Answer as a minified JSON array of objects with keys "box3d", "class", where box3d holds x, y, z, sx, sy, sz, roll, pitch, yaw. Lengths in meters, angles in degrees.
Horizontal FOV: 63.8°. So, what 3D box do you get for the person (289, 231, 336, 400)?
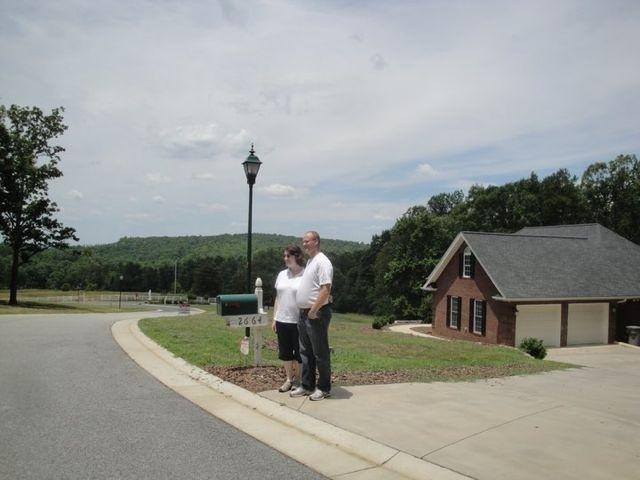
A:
[{"box3d":[-0.135,1.347,9.276,0.692,2.999,1.143,1,-6,0],"class":"person"}]
